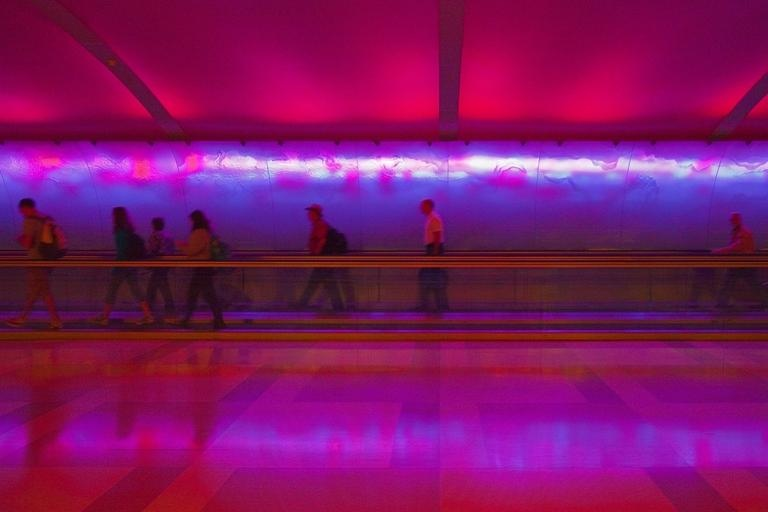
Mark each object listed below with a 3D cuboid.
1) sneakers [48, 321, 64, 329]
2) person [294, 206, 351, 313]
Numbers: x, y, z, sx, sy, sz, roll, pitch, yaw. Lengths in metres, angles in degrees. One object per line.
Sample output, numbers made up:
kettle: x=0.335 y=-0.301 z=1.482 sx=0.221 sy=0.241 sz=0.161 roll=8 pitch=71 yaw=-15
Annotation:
sneakers: x=-5.893 y=1.247 z=11.573 sx=0.248 sy=0.164 sz=0.058 roll=-6 pitch=-31 yaw=12
person: x=-1.070 y=0.001 z=11.900 sx=0.845 sy=2.138 sz=0.560 roll=4 pitch=-31 yaw=-6
